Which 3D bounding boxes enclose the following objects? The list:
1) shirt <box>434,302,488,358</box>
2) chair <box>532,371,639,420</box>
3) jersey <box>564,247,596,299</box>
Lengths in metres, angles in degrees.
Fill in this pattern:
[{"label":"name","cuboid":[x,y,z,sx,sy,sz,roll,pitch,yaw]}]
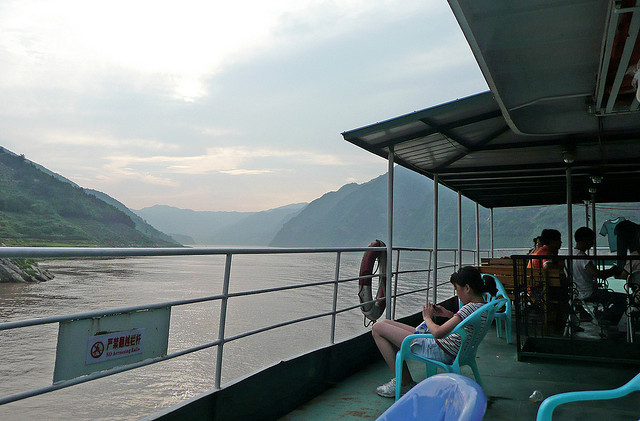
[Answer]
[{"label":"shirt","cuboid":[1.482,1.123,3.499,0.488,0.458,0.726,-2,-7,42]},{"label":"chair","cuboid":[1.417,0.986,1.956,0.560,0.215,0.199,4,-12,-18]},{"label":"jersey","cuboid":[3.713,0.860,5.235,0.400,0.687,0.364,-4,-2,-31]}]
